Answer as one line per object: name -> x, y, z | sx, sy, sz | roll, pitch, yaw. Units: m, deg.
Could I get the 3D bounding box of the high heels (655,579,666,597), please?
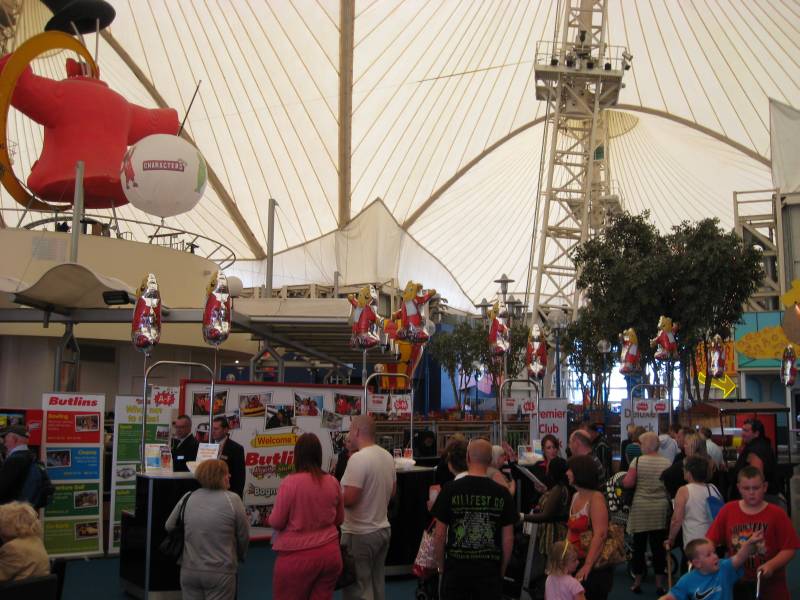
high heels -> 4.471, 4.887, 14.559 | 0.142, 0.224, 0.514 | -2, 1, 15

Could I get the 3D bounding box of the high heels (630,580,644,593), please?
high heels -> 4.112, 4.949, 14.753 | 0.128, 0.149, 0.269 | 0, -6, 1

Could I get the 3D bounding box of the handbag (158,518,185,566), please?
handbag -> -3.111, 3.292, 11.628 | 0.412, 0.577, 0.254 | -8, -13, 44

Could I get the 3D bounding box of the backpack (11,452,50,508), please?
backpack -> -6.034, 2.978, 14.040 | 0.303, 0.918, 0.606 | -4, -10, 24
